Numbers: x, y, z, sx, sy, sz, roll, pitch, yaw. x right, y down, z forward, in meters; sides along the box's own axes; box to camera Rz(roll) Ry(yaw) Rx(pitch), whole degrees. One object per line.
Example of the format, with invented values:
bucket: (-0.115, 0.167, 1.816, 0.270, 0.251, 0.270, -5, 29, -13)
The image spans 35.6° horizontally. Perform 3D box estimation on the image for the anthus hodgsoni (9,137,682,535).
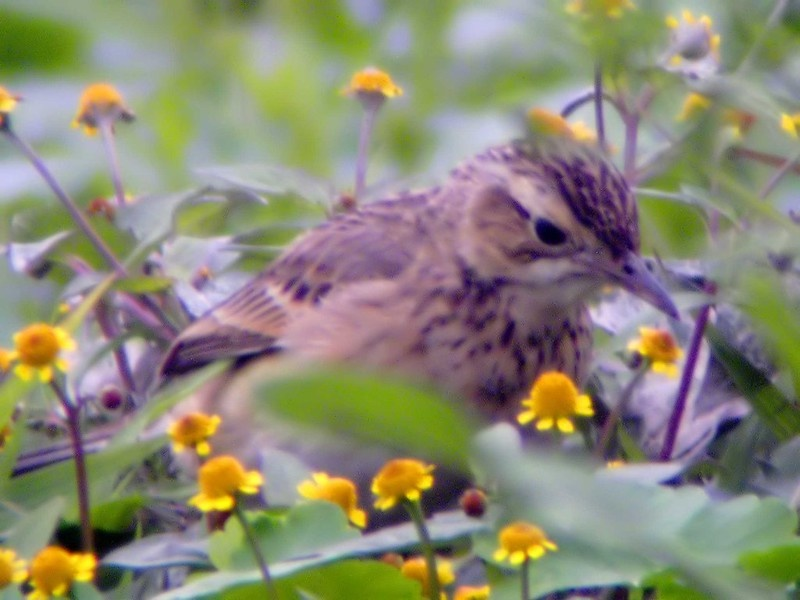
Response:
anthus hodgsoni: (-0.001, 0.001, 0.936, 0.350, 0.225, 0.249, -18, 23, -22)

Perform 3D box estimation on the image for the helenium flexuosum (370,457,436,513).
helenium flexuosum: (0.005, 0.127, 0.837, 0.038, 0.037, 0.035, 11, 23, 21)

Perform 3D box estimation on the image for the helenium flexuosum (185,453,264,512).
helenium flexuosum: (-0.112, 0.118, 0.792, 0.036, 0.028, 0.036, 3, 25, 30)
